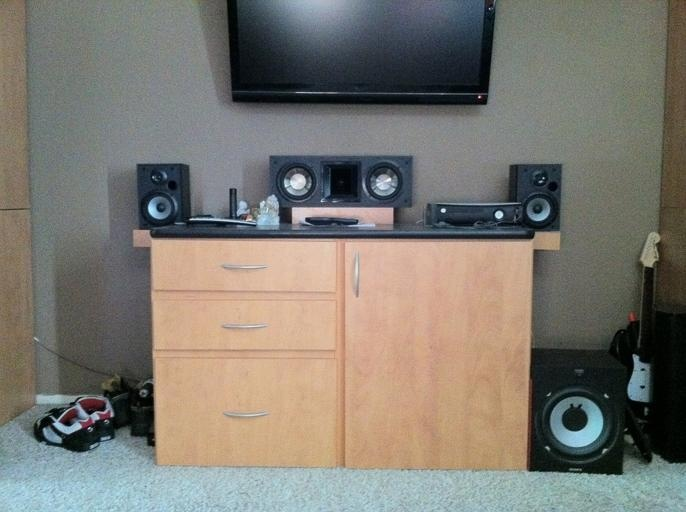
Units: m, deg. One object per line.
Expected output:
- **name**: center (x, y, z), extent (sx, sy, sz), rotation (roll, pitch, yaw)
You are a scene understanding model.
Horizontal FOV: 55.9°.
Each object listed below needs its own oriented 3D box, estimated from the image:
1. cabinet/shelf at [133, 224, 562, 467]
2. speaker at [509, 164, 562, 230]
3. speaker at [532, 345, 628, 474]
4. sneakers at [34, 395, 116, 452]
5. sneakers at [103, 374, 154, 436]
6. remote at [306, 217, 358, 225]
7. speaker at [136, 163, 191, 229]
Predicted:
- **cabinet/shelf**: center (-0.008, 0.426, 3.106), extent (1.658, 0.986, 0.544), rotation (0, -4, 5)
- **speaker**: center (0.969, -0.307, 3.254), extent (0.221, 0.339, 0.205), rotation (-3, 17, 0)
- **speaker**: center (1.077, 0.719, 3.131), extent (0.411, 0.502, 0.575), rotation (1, 5, 8)
- **sneakers**: center (-1.294, 0.768, 3.104), extent (0.309, 0.141, 0.236), rotation (7, 3, 34)
- **sneakers**: center (-1.068, 0.736, 3.212), extent (0.263, 0.317, 0.134), rotation (-3, 9, -44)
- **remote**: center (-0.055, -0.171, 3.132), extent (0.248, 0.037, 0.052), rotation (-2, 10, -5)
- **speaker**: center (-0.881, -0.296, 3.164), extent (0.243, 0.300, 0.100), rotation (-5, 11, -22)
